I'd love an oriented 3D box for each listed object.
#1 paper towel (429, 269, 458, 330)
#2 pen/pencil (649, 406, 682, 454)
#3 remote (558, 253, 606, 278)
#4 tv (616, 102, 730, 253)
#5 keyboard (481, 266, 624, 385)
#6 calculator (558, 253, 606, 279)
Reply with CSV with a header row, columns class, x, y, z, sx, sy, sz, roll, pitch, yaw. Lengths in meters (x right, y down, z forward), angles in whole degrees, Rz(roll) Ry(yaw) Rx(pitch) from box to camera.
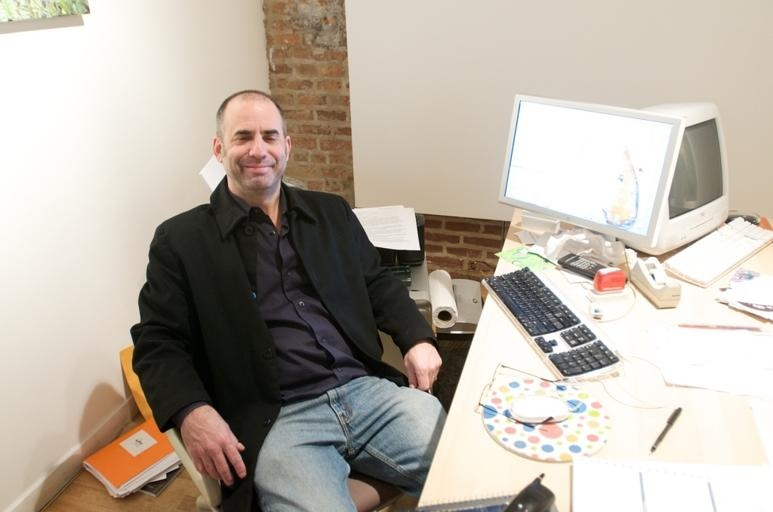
class,x,y,z,sx,sy,sz,roll,pitch,yaw
paper towel,0.272,0.227,2.567,0.136,0.122,0.275,14,25,-5
pen/pencil,0.796,0.501,1.481,0.020,0.021,0.150,16,39,40
remote,0.808,0.035,2.173,0.134,0.032,0.103,29,38,29
tv,1.274,-0.377,2.394,0.471,0.656,0.396,-20,18,-17
keyboard,0.582,0.228,1.904,0.255,0.084,0.613,-14,32,-13
calculator,0.810,0.037,2.172,0.134,0.032,0.104,29,39,31
